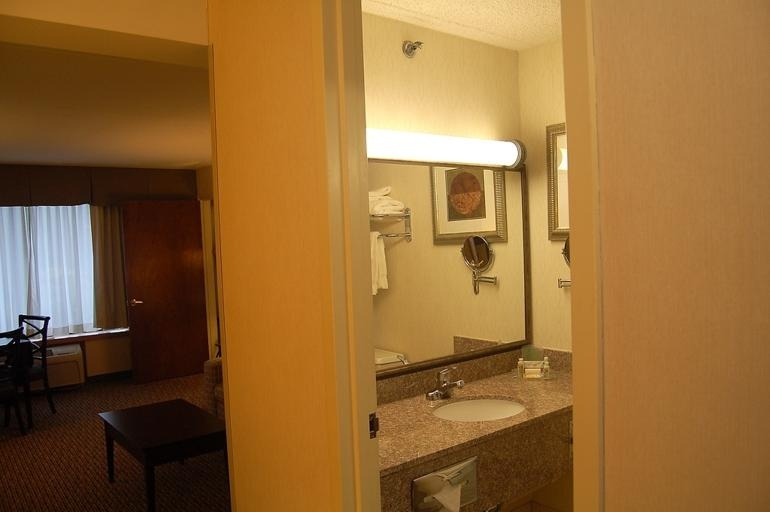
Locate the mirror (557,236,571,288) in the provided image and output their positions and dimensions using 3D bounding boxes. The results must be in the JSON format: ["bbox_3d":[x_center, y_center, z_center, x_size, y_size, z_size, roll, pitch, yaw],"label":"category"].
[{"bbox_3d":[0.838,0.042,2.813,0.046,0.252,0.172,1,8,13],"label":"mirror"}]

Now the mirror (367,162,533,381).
[{"bbox_3d":[0.262,0.075,2.690,0.809,0.891,0.050,-10,-9,-11],"label":"mirror"}]

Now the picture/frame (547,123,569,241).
[{"bbox_3d":[0.824,-0.346,2.873,0.065,0.557,0.135,-4,9,-25],"label":"picture/frame"}]

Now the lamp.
[{"bbox_3d":[0.292,-0.478,2.718,0.889,0.179,0.069,-6,10,-32],"label":"lamp"}]

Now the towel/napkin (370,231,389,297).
[{"bbox_3d":[-0.031,0.027,2.569,0.083,0.264,0.051,-6,10,-34],"label":"towel/napkin"}]

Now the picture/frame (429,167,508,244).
[{"bbox_3d":[0.369,-0.234,2.807,0.327,0.362,0.025,-2,2,-27],"label":"picture/frame"}]
